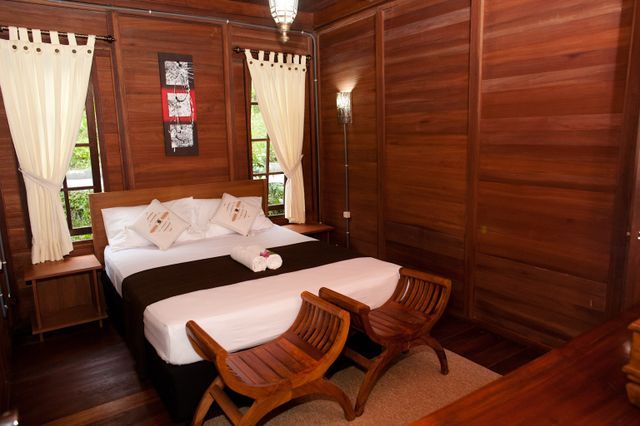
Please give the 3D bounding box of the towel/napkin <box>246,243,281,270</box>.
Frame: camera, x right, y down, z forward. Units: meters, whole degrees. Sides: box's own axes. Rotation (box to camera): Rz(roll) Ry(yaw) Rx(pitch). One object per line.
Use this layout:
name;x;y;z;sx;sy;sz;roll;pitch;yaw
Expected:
towel/napkin;-0.552;0.489;4.075;0.219;0.158;0.405;-1;9;-36

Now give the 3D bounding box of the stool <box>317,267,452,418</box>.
stool;0.659;0.967;3.629;1.483;0.943;0.846;-5;9;-33

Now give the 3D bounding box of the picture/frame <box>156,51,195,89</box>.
picture/frame;-1.794;-1.770;5.173;0.501;0.383;0.111;-8;13;-35

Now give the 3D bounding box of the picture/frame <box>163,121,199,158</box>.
picture/frame;-1.791;-0.940;5.268;0.539;0.443;0.050;-8;11;-33

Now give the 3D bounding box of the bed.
bed;-1.253;0.802;4.381;2.566;1.311;2.454;-8;11;-38

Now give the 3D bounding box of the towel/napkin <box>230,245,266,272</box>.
towel/napkin;-0.688;0.445;4.093;0.252;0.099;0.309;-3;9;-38

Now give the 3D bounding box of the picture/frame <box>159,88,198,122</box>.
picture/frame;-1.773;-1.361;5.228;0.492;0.375;0.105;-7;9;-32
